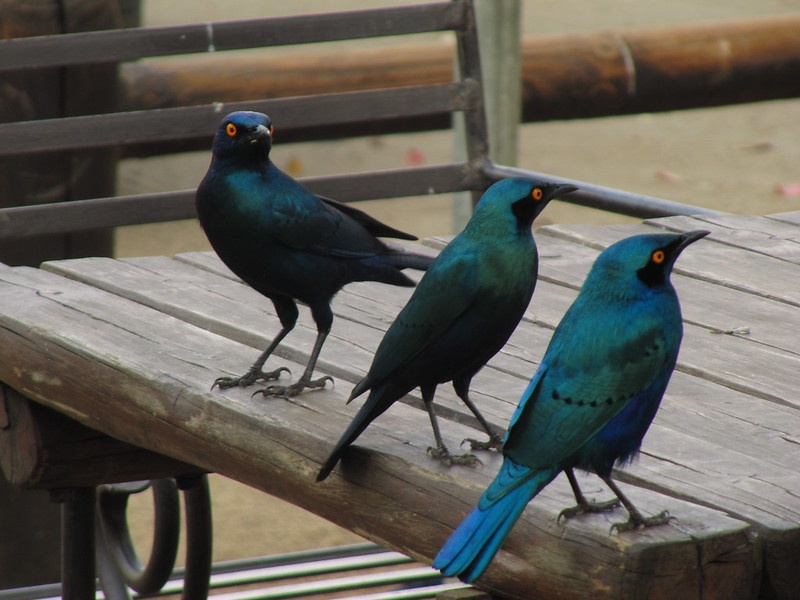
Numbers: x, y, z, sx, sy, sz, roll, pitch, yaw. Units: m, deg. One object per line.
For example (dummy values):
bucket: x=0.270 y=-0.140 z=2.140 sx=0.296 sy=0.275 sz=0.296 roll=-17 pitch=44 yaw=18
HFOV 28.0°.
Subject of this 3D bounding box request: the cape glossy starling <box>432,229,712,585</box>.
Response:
cape glossy starling: x=0.421 y=0.226 z=3.444 sx=0.407 sy=0.673 sz=0.674 roll=16 pitch=34 yaw=10
